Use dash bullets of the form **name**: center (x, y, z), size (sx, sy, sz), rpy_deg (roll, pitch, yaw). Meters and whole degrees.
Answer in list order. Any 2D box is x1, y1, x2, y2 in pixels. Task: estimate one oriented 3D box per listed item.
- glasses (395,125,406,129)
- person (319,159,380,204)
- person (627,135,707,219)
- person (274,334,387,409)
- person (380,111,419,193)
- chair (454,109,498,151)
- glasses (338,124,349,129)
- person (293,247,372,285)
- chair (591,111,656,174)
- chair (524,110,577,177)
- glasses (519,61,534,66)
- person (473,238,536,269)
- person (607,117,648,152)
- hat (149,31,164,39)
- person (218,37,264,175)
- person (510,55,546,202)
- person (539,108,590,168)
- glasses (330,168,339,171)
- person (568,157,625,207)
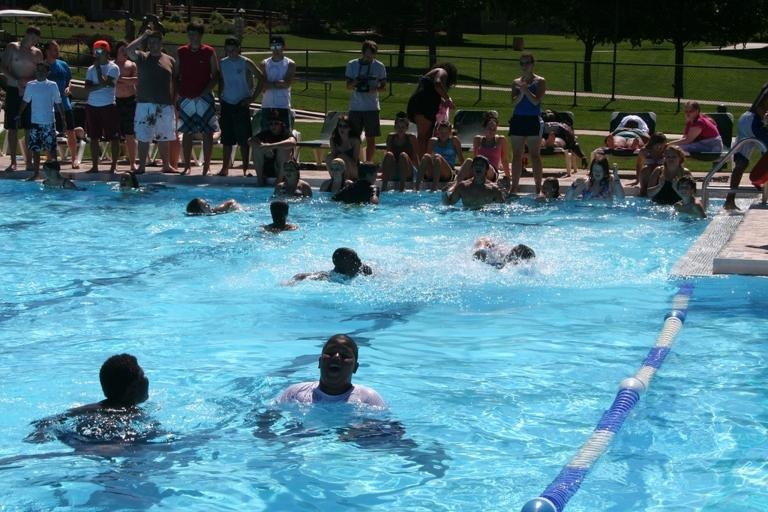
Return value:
- **glasses**: center (0.338, -2.404, 20.479), size (0.201, 0.101, 0.219), rpy_deg (2, 12, 2)
- **person**: center (-0.612, -1.319, 19.908), size (0.769, 0.906, 0.420), rpy_deg (10, -20, 21)
- **person**: center (5.108, -1.364, 19.170), size (0.561, 1.166, 1.830), rpy_deg (-2, 13, -12)
- **person**: center (-0.570, 1.464, 12.714), size (1.384, 0.892, 0.819), rpy_deg (4, -17, 8)
- **person**: center (0.315, -1.971, 20.656), size (0.703, 1.482, 0.608), rpy_deg (1, 13, 1)
- **chair**: center (2.020, -2.741, 23.878), size (0.842, 1.147, 1.043), rpy_deg (1, 9, 11)
- **glasses**: center (-0.752, -2.427, 20.367), size (0.199, 0.073, 0.078), rpy_deg (3, 13, 9)
- **person**: center (-0.623, 0.187, 15.904), size (1.695, 0.542, 0.513), rpy_deg (-4, -1, -29)
- **chair**: center (5.026, -2.263, 22.676), size (1.186, 1.276, 2.056), rpy_deg (4, 18, 24)
- **chair**: center (3.534, -2.291, 22.273), size (1.097, 1.096, 1.727), rpy_deg (2, 14, 15)
- **glasses**: center (2.565, -3.458, 19.427), size (0.226, 0.075, 0.231), rpy_deg (5, 13, 18)
- **person**: center (1.782, 0.011, 16.372), size (0.928, 0.362, 0.393), rpy_deg (9, 15, 32)
- **person**: center (5.141, -2.525, 22.531), size (0.655, 0.355, 1.068), rpy_deg (8, 21, 16)
- **hat**: center (-4.201, -4.126, 20.157), size (0.267, 0.124, 0.190), rpy_deg (-8, 15, -35)
- **person**: center (-2.756, -2.816, 20.603), size (0.801, 2.642, 1.180), rpy_deg (-3, 13, -16)
- **person**: center (2.587, -2.384, 19.621), size (0.676, 2.459, 0.691), rpy_deg (6, 11, 30)
- **person**: center (3.636, -2.344, 22.189), size (1.024, 1.125, 1.662), rpy_deg (3, 16, 17)
- **glasses**: center (-0.888, -1.550, 19.724), size (0.079, 0.027, 0.081), rpy_deg (3, 39, 9)
- **person**: center (3.849, -1.380, 19.552), size (0.990, 0.817, 0.438), rpy_deg (5, 13, 16)
